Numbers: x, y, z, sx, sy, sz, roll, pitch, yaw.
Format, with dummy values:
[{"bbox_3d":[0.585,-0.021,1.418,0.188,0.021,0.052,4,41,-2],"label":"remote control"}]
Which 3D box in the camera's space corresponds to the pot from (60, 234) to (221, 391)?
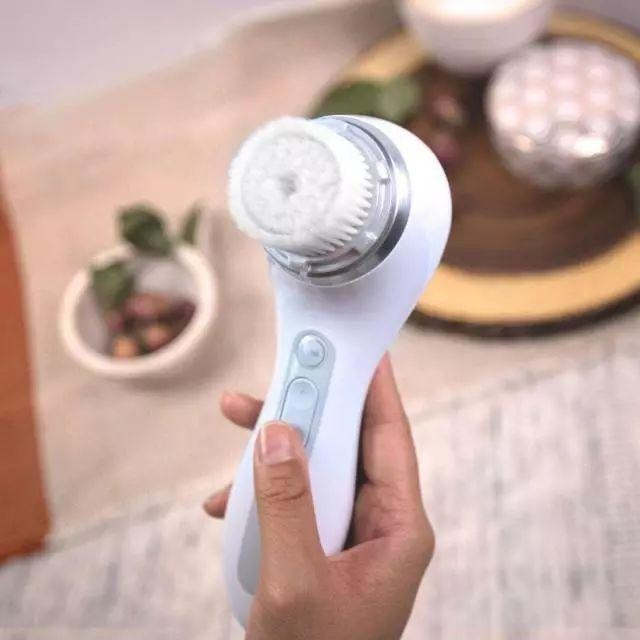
[{"bbox_3d":[-0.172,-0.002,0.730,0.161,0.054,0.125,-11,75,-3],"label":"pot"}]
